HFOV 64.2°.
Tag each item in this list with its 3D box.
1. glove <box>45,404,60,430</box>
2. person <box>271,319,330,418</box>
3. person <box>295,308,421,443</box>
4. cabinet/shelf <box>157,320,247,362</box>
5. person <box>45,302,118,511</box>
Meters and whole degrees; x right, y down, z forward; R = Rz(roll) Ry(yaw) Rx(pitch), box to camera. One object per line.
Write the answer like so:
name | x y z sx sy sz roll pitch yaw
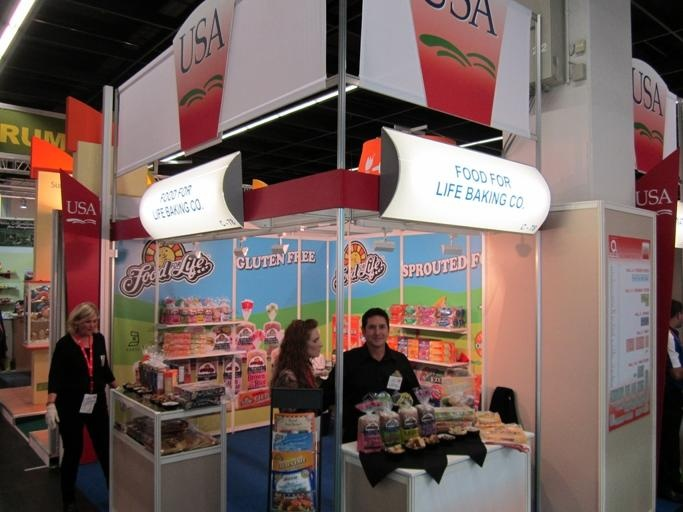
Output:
glove | -2.995 1.667 5.602 0.063 0.254 0.173 -5 2 -3
person | -0.434 1.070 5.457 0.433 0.919 0.575 4 4 4
person | 0.334 1.099 5.077 0.654 1.193 0.333 -1 -7 4
cabinet/shelf | -1.950 1.220 7.611 1.205 0.437 0.318 -3 -5 -12
person | -2.748 1.572 5.688 0.603 2.131 0.290 3 -8 -31
